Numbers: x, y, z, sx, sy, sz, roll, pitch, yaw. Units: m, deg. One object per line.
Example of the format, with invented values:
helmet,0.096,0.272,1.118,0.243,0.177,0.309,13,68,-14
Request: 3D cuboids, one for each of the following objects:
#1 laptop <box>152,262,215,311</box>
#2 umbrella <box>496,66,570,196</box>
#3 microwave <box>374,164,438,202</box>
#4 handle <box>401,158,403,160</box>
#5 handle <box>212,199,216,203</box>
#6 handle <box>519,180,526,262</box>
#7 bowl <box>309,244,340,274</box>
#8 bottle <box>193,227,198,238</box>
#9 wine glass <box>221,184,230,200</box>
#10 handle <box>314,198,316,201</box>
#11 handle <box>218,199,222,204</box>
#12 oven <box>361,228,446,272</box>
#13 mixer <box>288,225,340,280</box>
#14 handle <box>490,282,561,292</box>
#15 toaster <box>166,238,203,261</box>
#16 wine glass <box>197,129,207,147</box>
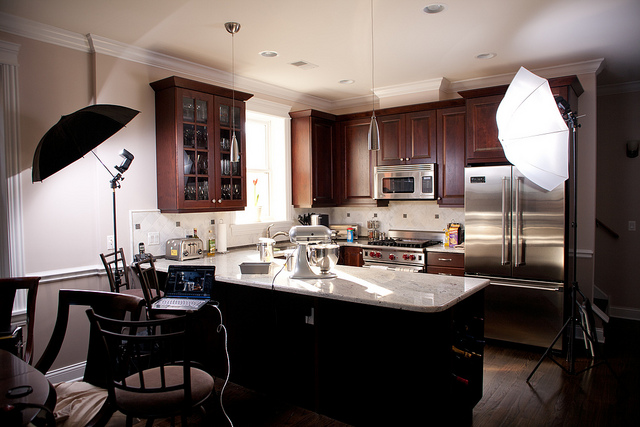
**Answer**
laptop,-1.168,0.626,3.824,0.457,0.282,0.401,1,7,7
umbrella,2.080,-0.807,4.352,0.587,1.169,0.401,-3,2,30
microwave,1.243,-0.414,6.385,0.867,0.547,0.454,0,-1,27
handle,1.155,-0.760,6.258,0.029,0.052,0.029,3,4,24
handle,-1.267,-0.153,5.339,0.044,0.045,0.010,9,-7,-24
handle,2.358,0.088,5.195,0.080,0.947,0.025,-4,2,-14
bowl,0.034,0.429,4.324,0.312,0.280,0.349,1,5,26
bottle,-1.525,0.232,5.492,0.051,0.104,0.164,-4,2,-13
wine glass,-1.131,-0.249,5.452,0.083,0.153,0.040,-3,5,-26
handle,-0.061,-0.205,6.519,0.008,0.029,0.038,-2,2,40
handle,-1.200,-0.148,5.404,0.026,0.069,0.068,-1,10,30
oven,1.164,0.681,6.255,0.894,0.875,0.637,0,2,39
mixer,-0.049,0.372,4.203,0.555,0.557,0.362,-1,3,-4
handle,2.397,0.856,5.221,0.744,0.089,0.018,-3,2,27
toaster,-1.581,0.390,5.248,0.280,0.213,0.282,0,0,38
wine glass,-1.377,-0.899,5.234,0.039,0.159,0.086,5,8,24
